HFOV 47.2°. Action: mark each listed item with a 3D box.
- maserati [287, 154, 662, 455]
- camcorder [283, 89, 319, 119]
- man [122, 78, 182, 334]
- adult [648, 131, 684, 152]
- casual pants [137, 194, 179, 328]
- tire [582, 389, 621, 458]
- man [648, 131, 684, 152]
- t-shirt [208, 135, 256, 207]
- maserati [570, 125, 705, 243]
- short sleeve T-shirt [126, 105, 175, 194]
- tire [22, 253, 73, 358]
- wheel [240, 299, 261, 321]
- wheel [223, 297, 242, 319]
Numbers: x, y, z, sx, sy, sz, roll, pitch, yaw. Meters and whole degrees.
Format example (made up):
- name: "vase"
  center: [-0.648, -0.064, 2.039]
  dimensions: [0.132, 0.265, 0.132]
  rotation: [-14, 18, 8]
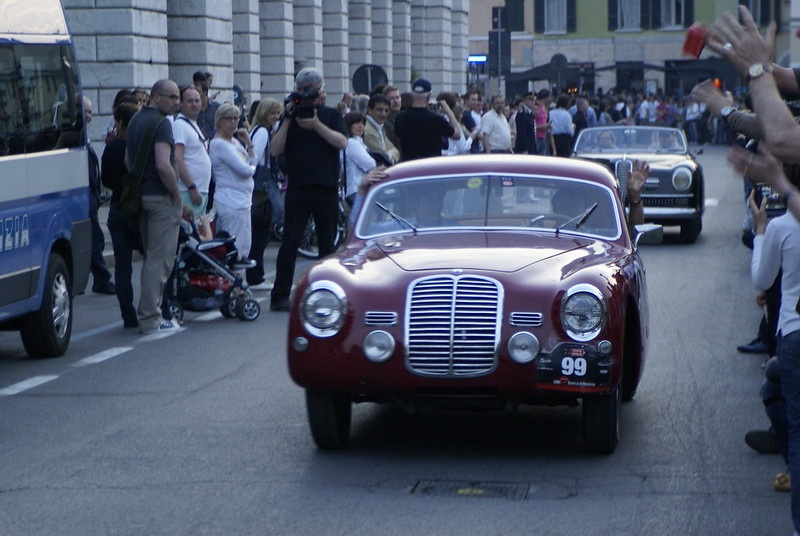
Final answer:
- name: "maserati"
  center: [0.548, 0.242, 7.065]
  dimensions: [2.679, 2.099, 2.014]
  rotation: [-1, 7, -4]
- name: "camcorder"
  center: [-1.188, -2.002, 11.075]
  dimensions: [0.388, 0.312, 0.174]
  rotation: [6, 14, 41]
- name: "man"
  center: [-2.913, -0.805, 10.786]
  dimensions: [0.710, 2.818, 0.806]
  rotation: [2, 0, -40]
- name: "adult"
  center: [5.528, -2.621, 18.759]
  dimensions: [0.337, 0.368, 0.682]
  rotation: [1, 8, 11]
- name: "casual pants"
  center: [-2.910, -0.099, 10.687]
  dimensions: [0.387, 1.727, 0.516]
  rotation: [4, 13, 5]
- name: "tire"
  center: [1.415, 1.093, 6.454]
  dimensions: [0.271, 0.508, 0.225]
  rotation: [-1, 6, -2]
- name: "man"
  center: [5.530, -2.629, 18.770]
  dimensions: [0.337, 0.368, 0.682]
  rotation: [1, 8, 11]
- name: "t-shirt"
  center: [-2.306, -1.239, 12.302]
  dimensions: [0.598, 1.310, 0.894]
  rotation: [-2, 7, 3]
- name: "maserati"
  center: [5.075, -1.886, 18.704]
  dimensions: [2.032, 2.098, 4.150]
  rotation: [1, 3, 12]
- name: "short sleeve T-shirt"
  center: [-2.981, -1.411, 10.696]
  dimensions: [0.582, 0.981, 0.380]
  rotation: [1, -4, 19]
- name: "tire"
  center: [-3.650, 0.401, 9.425]
  dimensions: [0.210, 0.851, 0.754]
  rotation: [-2, 19, 12]
- name: "wheel"
  center: [-1.841, 0.519, 11.191]
  dimensions: [0.195, 0.251, 0.079]
  rotation: [-6, 5, -43]
- name: "wheel"
  center: [-2.054, 0.475, 11.237]
  dimensions: [0.196, 0.277, 0.095]
  rotation: [2, 0, -7]
